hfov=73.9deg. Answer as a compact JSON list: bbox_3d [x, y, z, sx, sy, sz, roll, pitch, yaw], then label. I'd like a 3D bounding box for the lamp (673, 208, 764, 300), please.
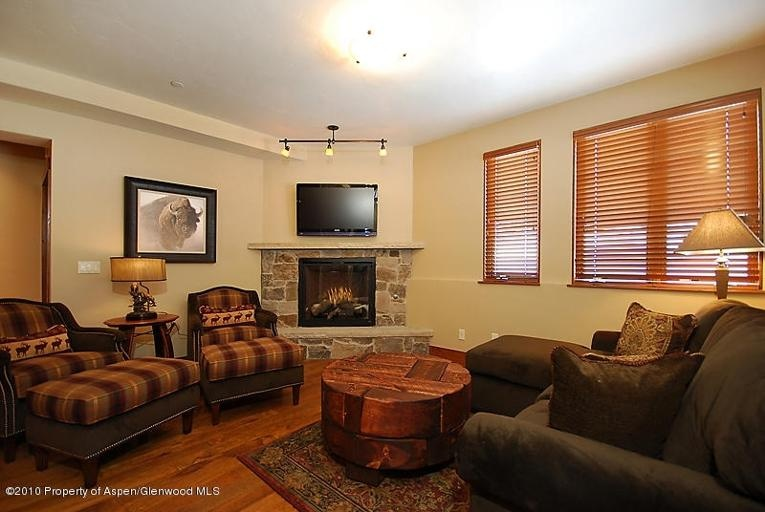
[{"bbox_3d":[2.980,-0.021,4.426,0.533,0.762,0.528,-2,2,-32],"label":"lamp"}]

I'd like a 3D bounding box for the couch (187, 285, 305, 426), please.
[{"bbox_3d":[-1.645,0.870,5.291,0.975,1.240,1.425,1,-4,-34],"label":"couch"}]

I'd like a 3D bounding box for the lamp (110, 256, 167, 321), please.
[{"bbox_3d":[-2.648,0.329,5.509,0.494,0.647,0.742,-2,1,-27],"label":"lamp"}]

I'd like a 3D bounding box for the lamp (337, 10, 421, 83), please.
[{"bbox_3d":[-0.036,-1.958,4.672,0.723,0.315,0.735,-1,1,-5],"label":"lamp"}]

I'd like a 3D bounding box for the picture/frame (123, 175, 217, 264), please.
[{"bbox_3d":[-2.549,-0.434,5.987,1.139,1.046,0.088,3,-5,-39],"label":"picture/frame"}]

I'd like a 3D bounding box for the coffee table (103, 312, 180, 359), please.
[{"bbox_3d":[-2.529,0.827,5.389,0.631,0.584,0.574,-1,3,-12],"label":"coffee table"}]

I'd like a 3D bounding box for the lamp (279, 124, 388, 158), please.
[{"bbox_3d":[-0.639,-1.472,6.559,1.503,0.331,0.204,4,12,15],"label":"lamp"}]
